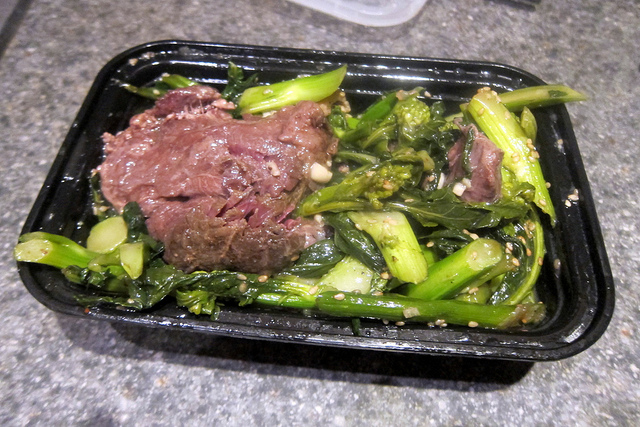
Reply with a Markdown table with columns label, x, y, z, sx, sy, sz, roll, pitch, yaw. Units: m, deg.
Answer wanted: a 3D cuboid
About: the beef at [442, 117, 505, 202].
| label | x | y | z | sx | sy | sz | roll | pitch | yaw |
| --- | --- | --- | --- | --- | --- | --- | --- | --- | --- |
| beef | 1.172 | -0.390 | 4.138 | 0.417 | 0.287 | 0.633 | 10 | 85 | -1 |
